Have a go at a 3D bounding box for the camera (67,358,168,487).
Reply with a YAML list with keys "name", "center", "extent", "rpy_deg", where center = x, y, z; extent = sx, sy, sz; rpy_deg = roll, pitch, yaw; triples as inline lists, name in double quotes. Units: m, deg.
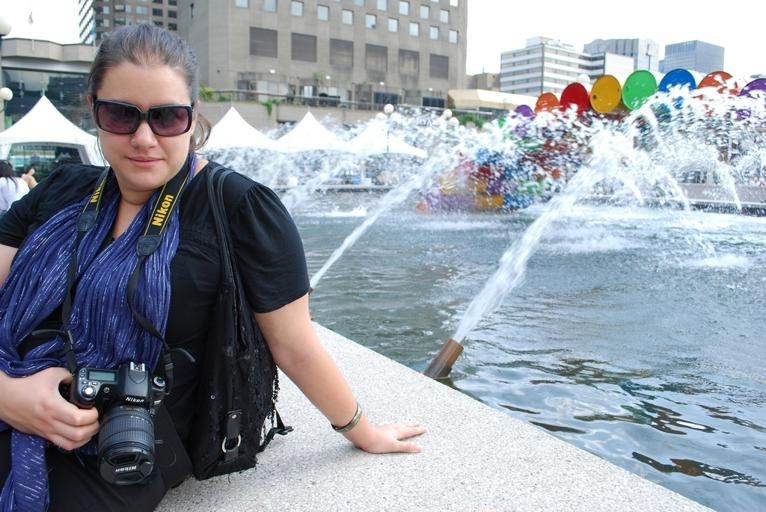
- name: "camera"
  center: [-0.799, 0.478, 1.666]
  extent: [0.340, 0.342, 0.214]
  rpy_deg: [4, -30, -28]
